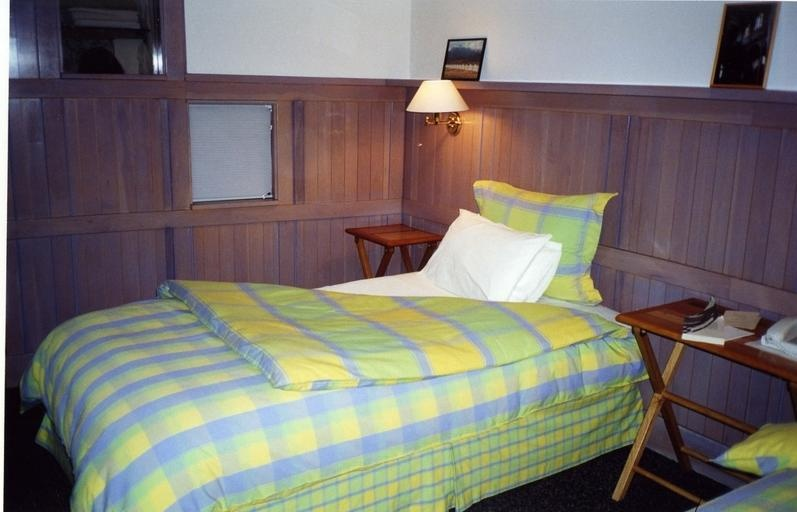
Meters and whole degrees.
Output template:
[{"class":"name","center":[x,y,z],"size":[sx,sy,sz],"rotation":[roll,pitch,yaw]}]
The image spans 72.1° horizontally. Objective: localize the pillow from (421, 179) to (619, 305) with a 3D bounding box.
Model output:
[{"class":"pillow","center":[0.824,-0.078,3.466],"size":[0.903,0.588,0.319],"rotation":[10,11,42]}]

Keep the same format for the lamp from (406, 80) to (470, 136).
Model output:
[{"class":"lamp","center":[0.268,-1.132,4.186],"size":[0.479,0.418,0.458],"rotation":[-8,15,-31]}]

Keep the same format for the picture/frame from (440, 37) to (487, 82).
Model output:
[{"class":"picture/frame","center":[0.500,-1.495,4.186],"size":[0.382,0.294,0.018],"rotation":[-16,33,-39]}]

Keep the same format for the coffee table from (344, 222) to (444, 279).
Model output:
[{"class":"coffee table","center":[-0.052,-0.130,4.519],"size":[0.579,0.526,0.559],"rotation":[-3,16,-35]}]

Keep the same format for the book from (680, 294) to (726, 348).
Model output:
[{"class":"book","center":[1.528,0.304,2.739],"size":[0.172,0.089,0.483],"rotation":[9,17,28]}]

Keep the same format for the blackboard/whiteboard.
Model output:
[{"class":"blackboard/whiteboard","center":[-1.337,-0.827,4.270],"size":[0.822,0.821,0.101],"rotation":[-6,14,-24]}]
